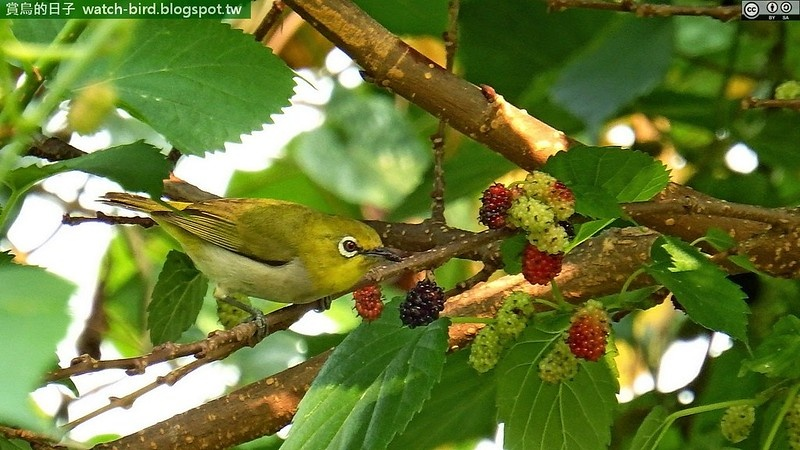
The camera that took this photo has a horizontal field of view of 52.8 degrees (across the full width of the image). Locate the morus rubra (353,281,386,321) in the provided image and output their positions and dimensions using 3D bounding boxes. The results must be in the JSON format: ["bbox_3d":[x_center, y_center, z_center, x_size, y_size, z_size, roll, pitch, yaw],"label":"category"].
[{"bbox_3d":[-0.103,0.245,2.633,0.118,0.119,0.043,-11,-37,-8],"label":"morus rubra"}]

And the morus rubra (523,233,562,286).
[{"bbox_3d":[0.441,0.122,2.602,0.126,0.124,0.125,12,-4,-20],"label":"morus rubra"}]

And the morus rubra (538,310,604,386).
[{"bbox_3d":[0.538,0.384,2.561,0.266,0.104,0.164,-34,-69,24],"label":"morus rubra"}]

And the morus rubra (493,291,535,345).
[{"bbox_3d":[0.364,0.288,2.558,0.158,0.138,0.092,-23,-29,4],"label":"morus rubra"}]

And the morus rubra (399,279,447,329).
[{"bbox_3d":[0.072,0.248,2.583,0.172,0.103,0.111,-39,-24,-16],"label":"morus rubra"}]

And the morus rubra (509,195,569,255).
[{"bbox_3d":[0.438,-0.001,2.563,0.236,0.106,0.129,33,-63,-12],"label":"morus rubra"}]

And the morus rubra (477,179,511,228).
[{"bbox_3d":[0.308,-0.062,2.594,0.116,0.129,0.059,10,0,18],"label":"morus rubra"}]

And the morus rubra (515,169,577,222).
[{"bbox_3d":[0.447,-0.107,2.540,0.233,0.100,0.077,2,-64,23],"label":"morus rubra"}]
